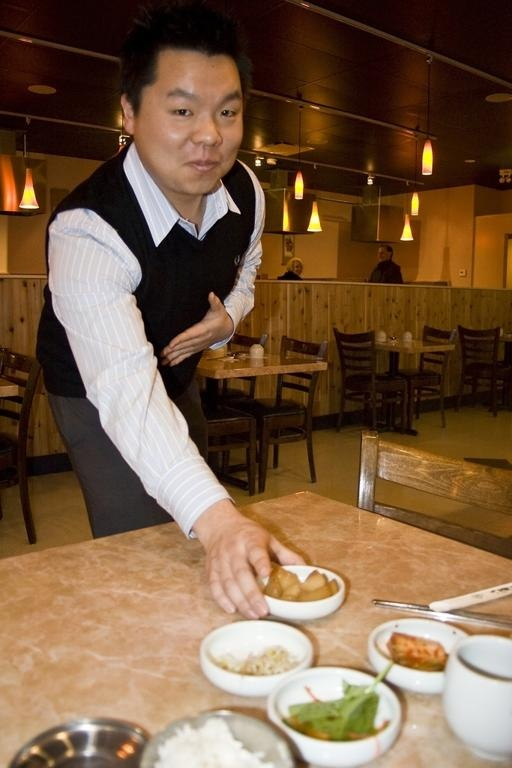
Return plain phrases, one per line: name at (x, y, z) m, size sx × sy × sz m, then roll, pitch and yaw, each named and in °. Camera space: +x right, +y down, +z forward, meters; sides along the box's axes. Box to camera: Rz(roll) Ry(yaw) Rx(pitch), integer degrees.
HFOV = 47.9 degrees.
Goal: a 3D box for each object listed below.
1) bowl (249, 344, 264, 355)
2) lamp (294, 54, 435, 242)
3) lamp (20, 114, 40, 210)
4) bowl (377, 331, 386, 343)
bowl at (0.004, -0.233, 4.066) m, size 0.076 × 0.076 × 0.077 m, roll 0°, pitch -1°, yaw 0°
lamp at (1.409, -2.966, 7.449) m, size 1.644 × 1.794 × 1.448 m, roll 5°, pitch -12°, yaw -17°
lamp at (-2.255, -2.137, 5.707) m, size 0.235 × 0.775 × 0.233 m, roll -10°, pitch 32°, yaw -30°
bowl at (1.361, -0.488, 6.162) m, size 0.132 × 0.139 × 0.144 m, roll -1°, pitch 2°, yaw 0°
